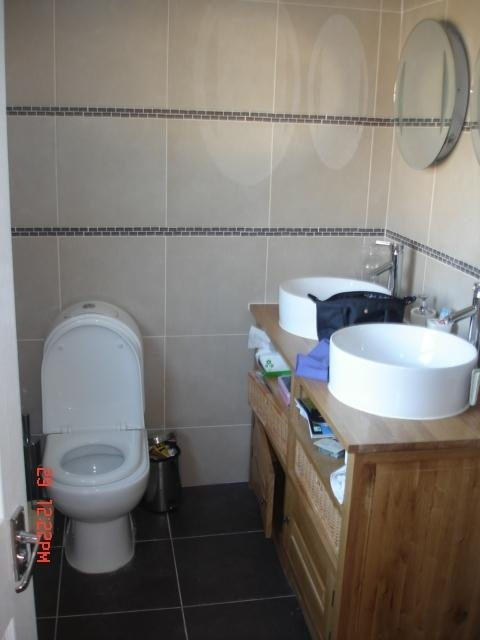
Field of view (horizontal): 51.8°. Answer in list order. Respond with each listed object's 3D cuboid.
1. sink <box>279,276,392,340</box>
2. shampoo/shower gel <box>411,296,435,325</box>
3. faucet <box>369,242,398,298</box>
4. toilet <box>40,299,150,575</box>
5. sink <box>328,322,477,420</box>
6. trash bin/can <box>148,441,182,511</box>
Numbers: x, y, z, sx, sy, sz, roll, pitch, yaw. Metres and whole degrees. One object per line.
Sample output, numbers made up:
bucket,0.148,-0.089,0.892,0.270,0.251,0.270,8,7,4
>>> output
sink,0.253,-0.069,1.859,0.225,0.135,0.304,-6,16,-17
shampoo/shower gel,0.612,-0.029,1.653,0.051,0.081,0.058,-11,22,-24
faucet,0.547,-0.127,1.857,0.098,0.318,0.058,1,-20,20
toilet,-0.566,0.469,1.930,0.287,0.896,0.591,-4,20,-21
sink,0.398,0.122,1.252,0.343,0.134,0.409,2,12,3
trash bin/can,-0.332,0.722,2.242,0.125,0.272,0.128,-1,4,-39
